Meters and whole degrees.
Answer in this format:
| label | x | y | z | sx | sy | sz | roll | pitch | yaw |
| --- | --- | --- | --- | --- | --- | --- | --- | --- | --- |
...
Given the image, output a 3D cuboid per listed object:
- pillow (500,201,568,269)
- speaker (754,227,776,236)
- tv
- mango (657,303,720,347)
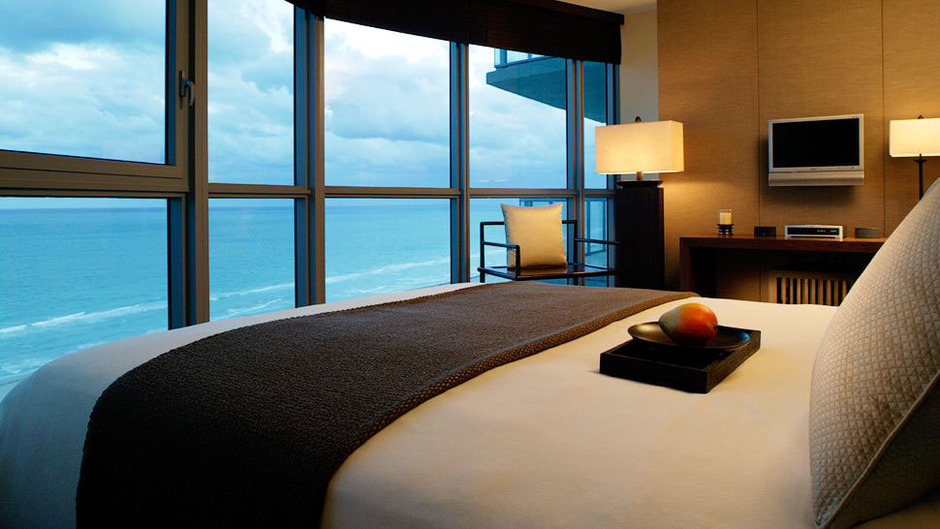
| label | x | y | z | sx | sy | sz | roll | pitch | yaw |
| --- | --- | --- | --- | --- | --- | --- | --- | --- | --- |
| pillow | 0.530 | -0.242 | 4.934 | 0.681 | 0.598 | 0.229 | -3 | -5 | -17 |
| speaker | 2.325 | -0.273 | 4.609 | 0.101 | 0.055 | 0.097 | 1 | 4 | 25 |
| tv | 2.665 | -0.930 | 4.458 | 0.547 | 0.336 | 0.054 | 1 | 2 | 33 |
| mango | 0.705 | 0.191 | 1.892 | 0.147 | 0.131 | 0.188 | 15 | -13 | -42 |
